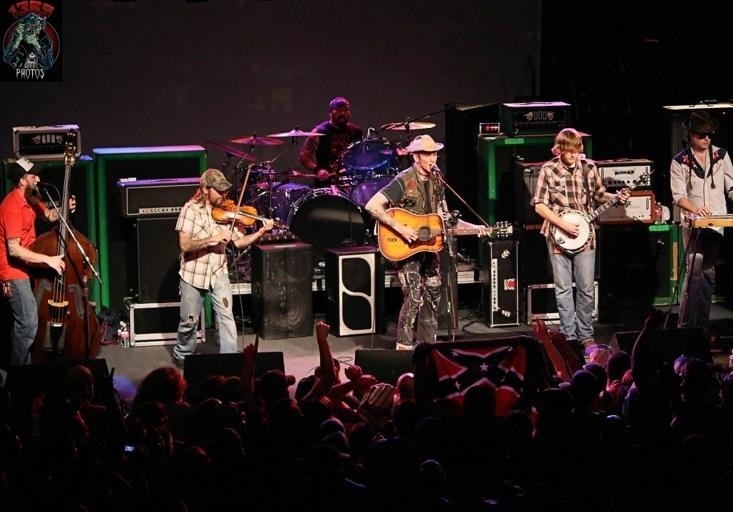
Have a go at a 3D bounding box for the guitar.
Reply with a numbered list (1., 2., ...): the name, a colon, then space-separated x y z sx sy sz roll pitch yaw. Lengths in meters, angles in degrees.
1. guitar: 0.490 -0.192 6.538 0.802 0.513 0.374 -1 -5 -3

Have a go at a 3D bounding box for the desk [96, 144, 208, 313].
1. desk: -2.551 -0.034 8.220 1.357 2.234 0.728 4 -34 -28

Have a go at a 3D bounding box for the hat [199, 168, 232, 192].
1. hat: -1.391 -0.691 6.293 0.270 0.154 0.189 6 15 18

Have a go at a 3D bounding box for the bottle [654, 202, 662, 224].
1. bottle: 3.620 -0.525 8.549 0.100 0.257 0.339 -4 -5 23

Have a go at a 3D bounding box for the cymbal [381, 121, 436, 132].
1. cymbal: 0.568 -1.882 10.055 0.466 0.107 0.470 6 11 32

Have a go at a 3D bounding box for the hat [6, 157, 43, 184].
1. hat: -3.255 -0.813 6.591 0.362 0.185 0.253 -25 35 -21

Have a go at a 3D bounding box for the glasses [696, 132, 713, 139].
1. glasses: 3.382 -1.207 6.918 0.144 0.043 0.143 0 -3 -29

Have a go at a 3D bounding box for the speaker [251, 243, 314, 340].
1. speaker: -1.017 0.416 7.824 0.726 1.042 0.773 -2 -1 37

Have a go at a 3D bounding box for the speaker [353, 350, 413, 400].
1. speaker: 0.099 0.839 5.137 0.509 0.323 0.362 3 0 -22

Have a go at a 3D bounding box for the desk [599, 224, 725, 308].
1. desk: 3.584 0.073 8.708 1.581 1.554 0.918 -1 5 -9

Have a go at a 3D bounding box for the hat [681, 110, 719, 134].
1. hat: 3.385 -1.348 7.013 0.294 0.291 0.370 -4 -5 26

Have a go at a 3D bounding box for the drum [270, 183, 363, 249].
1. drum: -0.645 -0.392 8.765 1.171 1.154 0.642 3 5 -16

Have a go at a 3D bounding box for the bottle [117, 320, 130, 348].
1. bottle: -2.659 0.872 7.613 0.155 0.254 0.075 -4 -14 18

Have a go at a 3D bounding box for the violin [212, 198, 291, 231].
1. violin: -1.256 -0.413 7.356 0.773 0.323 0.129 19 -26 -30

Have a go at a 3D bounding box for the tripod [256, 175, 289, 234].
1. tripod: -1.145 -0.644 9.152 0.496 0.609 0.453 -17 6 -8
